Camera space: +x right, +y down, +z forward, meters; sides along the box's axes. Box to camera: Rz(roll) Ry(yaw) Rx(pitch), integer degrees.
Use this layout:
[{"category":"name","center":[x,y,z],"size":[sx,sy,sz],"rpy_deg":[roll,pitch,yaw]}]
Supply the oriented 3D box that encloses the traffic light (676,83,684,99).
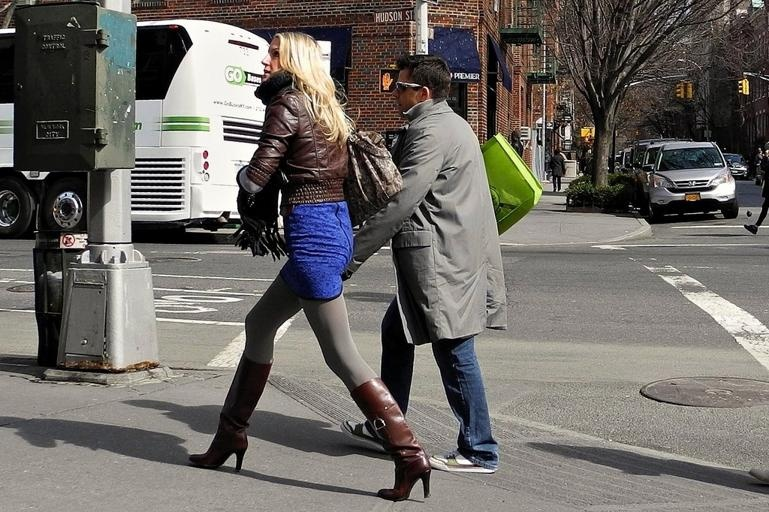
[{"category":"traffic light","center":[12.838,-7.209,36.775],"size":[0.355,0.671,1.500],"rpy_deg":[3,6,18]}]

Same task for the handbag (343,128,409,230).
[{"category":"handbag","center":[-0.066,-0.459,5.382],"size":[0.480,0.481,0.255],"rpy_deg":[-30,-7,37]}]

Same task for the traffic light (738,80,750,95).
[{"category":"traffic light","center":[18.424,-8.729,43.513],"size":[0.408,0.720,2.049],"rpy_deg":[3,7,21]}]

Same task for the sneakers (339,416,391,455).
[{"category":"sneakers","center":[-0.156,1.271,6.090],"size":[0.427,0.191,0.147],"rpy_deg":[27,9,18]}]

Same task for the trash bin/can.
[{"category":"trash bin/can","center":[-3.043,0.393,7.717],"size":[0.509,1.201,0.388],"rpy_deg":[2,6,12]}]

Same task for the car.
[{"category":"car","center":[8.939,-2.237,25.412],"size":[2.383,2.436,3.408],"rpy_deg":[2,6,10]}]

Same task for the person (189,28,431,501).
[{"category":"person","center":[-0.484,0.032,5.382],"size":[1.449,2.884,0.528],"rpy_deg":[2,5,6]}]

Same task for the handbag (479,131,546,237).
[{"category":"handbag","center":[0.928,-0.546,6.355],"size":[0.354,0.685,0.659],"rpy_deg":[-5,-24,3]}]

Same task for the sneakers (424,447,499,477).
[{"category":"sneakers","center":[0.496,1.397,5.669],"size":[0.446,0.160,0.175],"rpy_deg":[4,-4,4]}]
